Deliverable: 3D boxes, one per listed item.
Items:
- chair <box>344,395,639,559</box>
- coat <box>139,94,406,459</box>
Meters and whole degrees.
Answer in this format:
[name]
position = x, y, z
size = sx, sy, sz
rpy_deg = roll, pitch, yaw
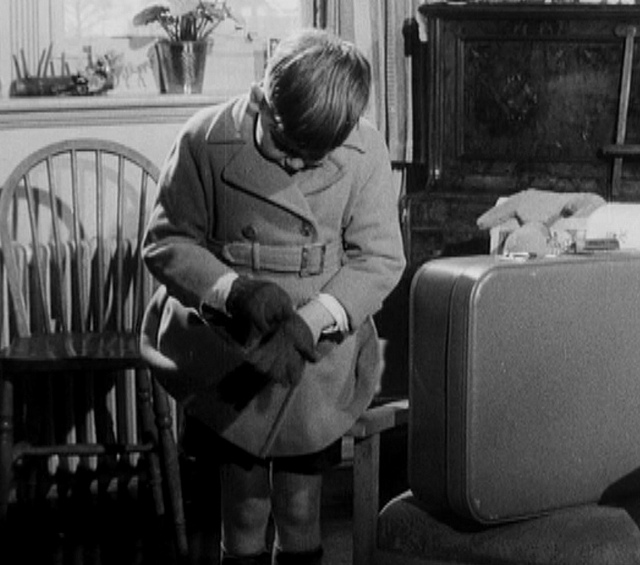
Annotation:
[chair]
position = 0.218, 0.211, 1.274
size = 0.275, 0.232, 0.246
rpy_deg = 0, 0, 1
[coat]
position = -0.072, -0.030, 1.282
size = 0.308, 0.477, 0.305
rpy_deg = -9, 39, -20
